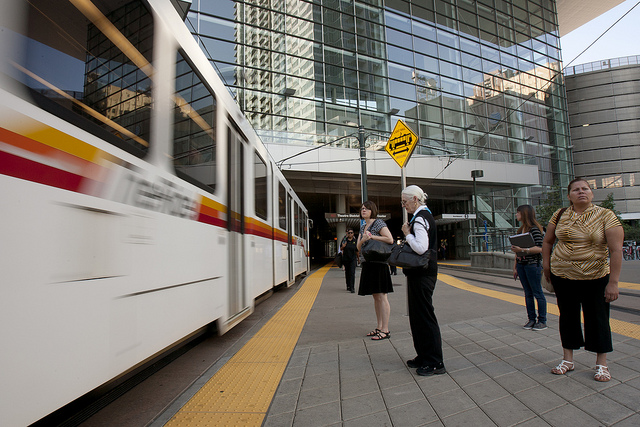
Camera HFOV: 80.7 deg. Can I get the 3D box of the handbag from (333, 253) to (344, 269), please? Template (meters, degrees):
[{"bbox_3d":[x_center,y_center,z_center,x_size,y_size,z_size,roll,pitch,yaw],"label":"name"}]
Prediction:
[{"bbox_3d":[0.550,1.540,11.939,0.157,0.439,0.319,6,15,5],"label":"handbag"}]

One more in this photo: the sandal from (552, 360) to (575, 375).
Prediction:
[{"bbox_3d":[2.880,1.832,4.501,0.289,0.122,0.126,4,-17,-21],"label":"sandal"}]

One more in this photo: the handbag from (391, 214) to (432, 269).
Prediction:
[{"bbox_3d":[1.095,0.335,4.571,0.484,0.673,0.314,-2,-2,8],"label":"handbag"}]

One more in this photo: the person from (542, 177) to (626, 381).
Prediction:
[{"bbox_3d":[3.041,0.724,4.401,0.794,2.287,0.399,-3,-3,38],"label":"person"}]

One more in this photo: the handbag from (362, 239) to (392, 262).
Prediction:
[{"bbox_3d":[0.803,0.516,5.341,0.349,0.343,0.155,2,4,23],"label":"handbag"}]
